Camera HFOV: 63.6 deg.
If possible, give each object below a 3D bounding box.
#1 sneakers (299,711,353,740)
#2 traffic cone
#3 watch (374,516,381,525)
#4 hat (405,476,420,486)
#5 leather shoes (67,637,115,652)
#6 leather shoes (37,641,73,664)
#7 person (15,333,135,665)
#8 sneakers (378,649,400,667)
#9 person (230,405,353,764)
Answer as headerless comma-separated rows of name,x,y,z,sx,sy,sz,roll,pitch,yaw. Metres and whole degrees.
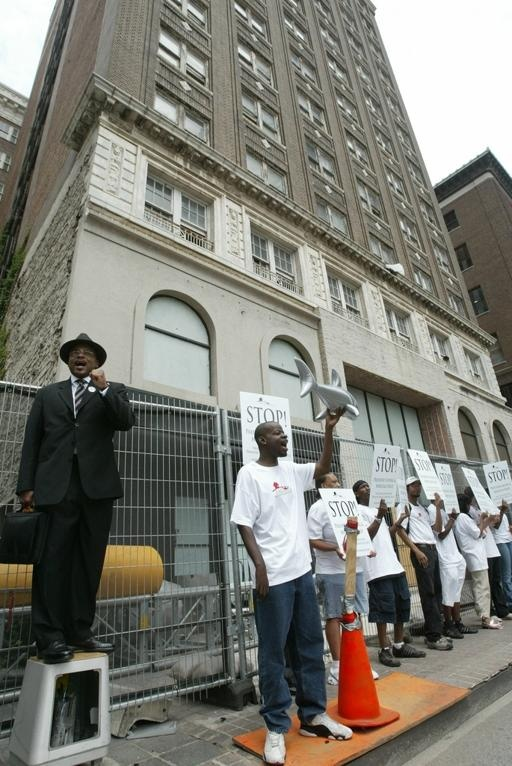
sneakers,0.412,2.039,2.485,0.309,0.156,0.117,-9,-26,21
traffic cone,0.678,1.944,2.758,0.428,0.532,0.420,-15,-23,26
watch,1.417,1.600,4.809,0.061,0.046,0.077,3,-32,-2
hat,2.286,1.444,6.102,0.120,0.069,0.188,5,-19,-16
leather shoes,-0.901,1.457,2.333,0.259,0.113,0.104,5,-28,-5
leather shoes,-0.984,1.325,2.022,0.081,0.079,0.194,25,-39,-35
person,-1.129,0.554,2.565,0.602,2.018,0.511,-13,-20,27
sneakers,1.513,3.150,4.698,0.100,0.146,0.298,2,-24,-10
person,0.207,1.158,2.638,0.738,1.974,0.483,10,-22,-35
